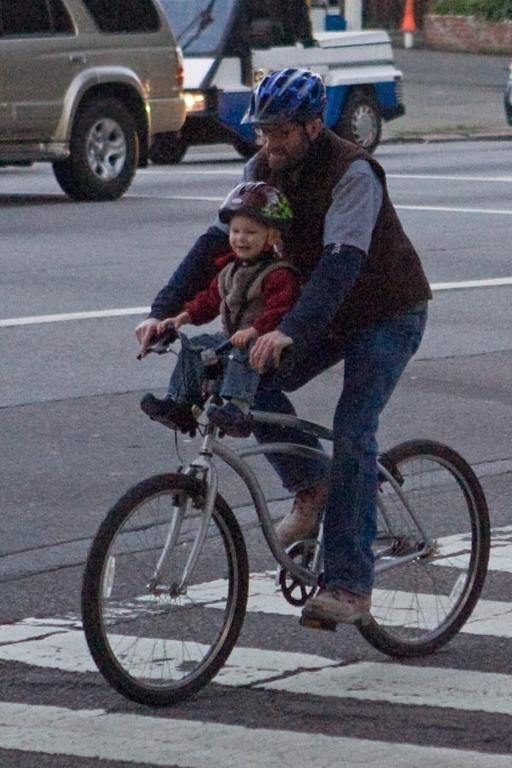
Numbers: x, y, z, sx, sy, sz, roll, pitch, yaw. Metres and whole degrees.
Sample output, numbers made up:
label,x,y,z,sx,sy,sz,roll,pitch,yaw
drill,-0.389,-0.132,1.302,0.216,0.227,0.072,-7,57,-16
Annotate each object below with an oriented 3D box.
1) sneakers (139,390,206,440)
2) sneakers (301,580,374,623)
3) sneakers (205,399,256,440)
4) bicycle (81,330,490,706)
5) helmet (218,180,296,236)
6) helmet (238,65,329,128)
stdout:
label,x,y,z,sx,sy,sz,roll,pitch,yaw
sneakers,-0.226,0.089,3.943,0.159,0.062,0.095,35,-33,-18
sneakers,0.229,0.606,4.081,0.180,0.086,0.086,11,-18,-28
sneakers,-0.067,0.087,3.849,0.062,0.070,0.156,-28,-27,4
bicycle,0.316,0.430,4.067,1.562,0.984,0.658,-3,-2,-40
helmet,0.002,-0.476,3.964,0.173,0.146,0.130,22,-17,6
helmet,0.080,-0.779,3.933,0.142,0.105,0.216,14,22,39
